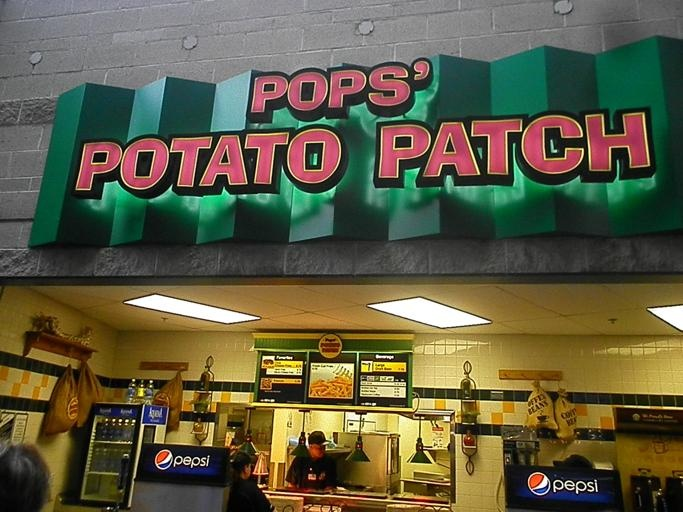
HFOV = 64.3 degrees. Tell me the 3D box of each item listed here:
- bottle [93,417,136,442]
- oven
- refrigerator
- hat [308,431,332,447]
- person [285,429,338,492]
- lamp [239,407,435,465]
[{"bbox_3d":[-3.183,2.421,7.549,0.470,0.406,0.105,2,-12,9],"label":"bottle"},{"bbox_3d":[0.502,3.558,9.068,0.877,1.111,0.752,-9,-24,30],"label":"oven"},{"bbox_3d":[-3.055,2.716,7.525,0.877,1.309,0.620,-5,-20,23],"label":"refrigerator"},{"bbox_3d":[-0.343,2.727,8.167,0.357,0.199,0.260,-3,-11,6],"label":"hat"},{"bbox_3d":[-0.470,3.096,8.155,0.890,0.966,0.521,3,-37,-3],"label":"person"},{"bbox_3d":[-0.144,2.894,8.722,1.920,1.012,0.570,1,-3,1],"label":"lamp"}]
